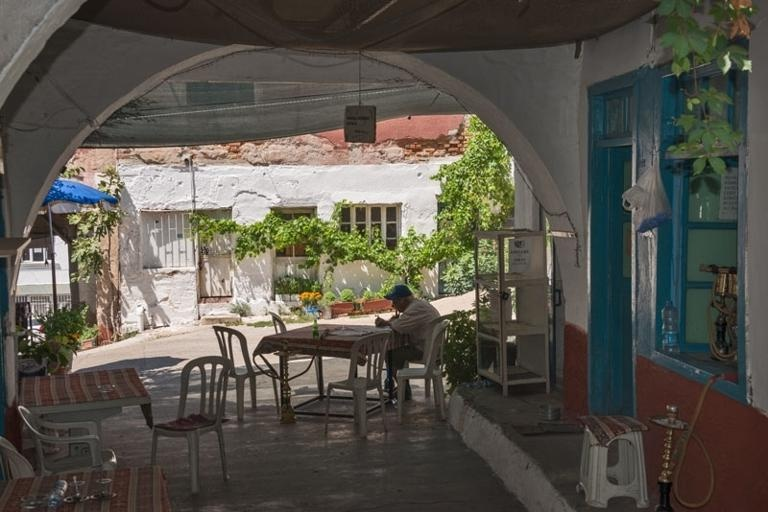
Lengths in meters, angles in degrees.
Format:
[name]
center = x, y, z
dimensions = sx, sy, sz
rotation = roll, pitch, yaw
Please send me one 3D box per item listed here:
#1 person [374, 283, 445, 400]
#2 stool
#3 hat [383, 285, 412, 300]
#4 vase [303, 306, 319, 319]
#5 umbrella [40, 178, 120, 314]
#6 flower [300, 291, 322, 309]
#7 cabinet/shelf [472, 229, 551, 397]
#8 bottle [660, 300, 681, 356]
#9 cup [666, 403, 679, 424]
[person]
center = 0.309, 1.058, 11.274
dimensions = 0.879, 1.460, 0.657
rotation = 0, 14, -1
[stool]
center = 2.022, 1.787, 7.587
dimensions = 0.637, 0.744, 0.641
rotation = -2, 2, 3
[hat]
center = 0.160, 0.499, 11.307
dimensions = 0.291, 0.155, 0.195
rotation = -4, 1, 18
[vase]
center = -1.506, 1.195, 17.820
dimensions = 0.271, 0.239, 0.313
rotation = 0, -5, 2
[umbrella]
center = -4.721, -0.232, 13.328
dimensions = 1.033, 1.992, 4.078
rotation = -3, 2, -21
[flower]
center = -1.557, 0.955, 18.039
dimensions = 0.315, 0.234, 0.330
rotation = -1, 0, 23
[cabinet/shelf]
center = 1.607, 0.682, 10.507
dimensions = 0.866, 1.923, 0.790
rotation = -3, 2, -8
[bottle]
center = 2.566, 0.634, 7.685
dimensions = 0.140, 0.438, 0.111
rotation = -2, 2, -6
[cup]
center = 2.338, 1.282, 6.966
dimensions = 0.070, 0.154, 0.186
rotation = -1, 2, 23
